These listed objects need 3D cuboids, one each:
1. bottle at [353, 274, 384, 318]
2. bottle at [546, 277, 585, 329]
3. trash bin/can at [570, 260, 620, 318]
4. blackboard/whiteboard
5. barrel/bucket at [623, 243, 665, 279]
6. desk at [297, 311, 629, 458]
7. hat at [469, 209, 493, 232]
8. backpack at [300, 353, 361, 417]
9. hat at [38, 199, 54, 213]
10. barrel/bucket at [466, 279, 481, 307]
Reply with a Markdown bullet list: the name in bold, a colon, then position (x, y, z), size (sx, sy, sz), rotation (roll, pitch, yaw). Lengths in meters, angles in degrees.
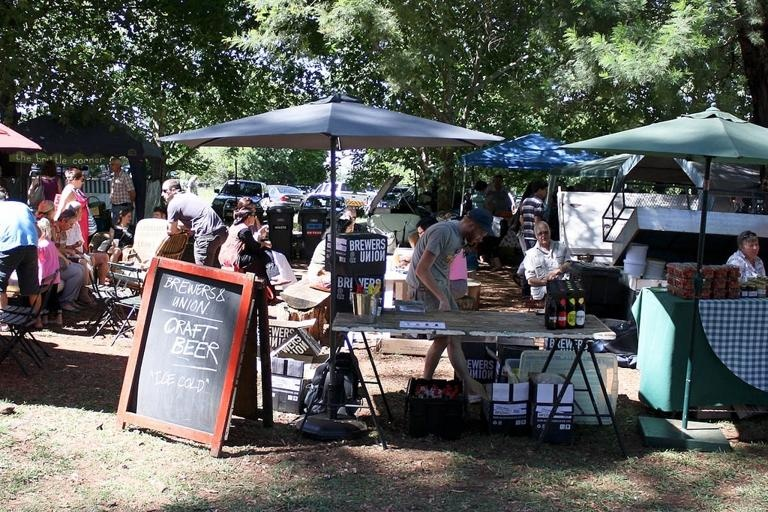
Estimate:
- **bottle**: position (-0.184, 0.435, 7.097), size (0.315, 0.364, 0.385), rotation (1, -4, 1)
- **bottle**: position (1.857, 0.483, 6.978), size (0.411, 0.555, 0.459), rotation (0, 0, 1)
- **trash bin/can**: position (3.340, 0.251, 10.719), size (0.558, 0.838, 0.883), rotation (4, 26, 10)
- **blackboard/whiteboard**: position (-1.973, 0.979, 6.995), size (1.222, 1.751, 0.850), rotation (10, 9, 12)
- **barrel/bucket**: position (3.854, 0.085, 10.121), size (0.514, 0.484, 0.507), rotation (0, 9, 0)
- **desk**: position (1.019, 1.231, 7.174), size (2.942, 1.308, 1.019), rotation (2, 14, -1)
- **hat**: position (1.041, -0.413, 7.281), size (0.275, 0.150, 0.192), rotation (32, 15, 0)
- **backpack**: position (-0.560, 1.447, 7.444), size (0.492, 0.649, 0.689), rotation (10, -13, -19)
- **hat**: position (-4.984, -0.733, 9.920), size (0.163, 0.219, 0.193), rotation (11, -2, 20)
- **barrel/bucket**: position (1.489, 0.580, 10.645), size (0.352, 0.369, 0.349), rotation (0, 1, 0)
